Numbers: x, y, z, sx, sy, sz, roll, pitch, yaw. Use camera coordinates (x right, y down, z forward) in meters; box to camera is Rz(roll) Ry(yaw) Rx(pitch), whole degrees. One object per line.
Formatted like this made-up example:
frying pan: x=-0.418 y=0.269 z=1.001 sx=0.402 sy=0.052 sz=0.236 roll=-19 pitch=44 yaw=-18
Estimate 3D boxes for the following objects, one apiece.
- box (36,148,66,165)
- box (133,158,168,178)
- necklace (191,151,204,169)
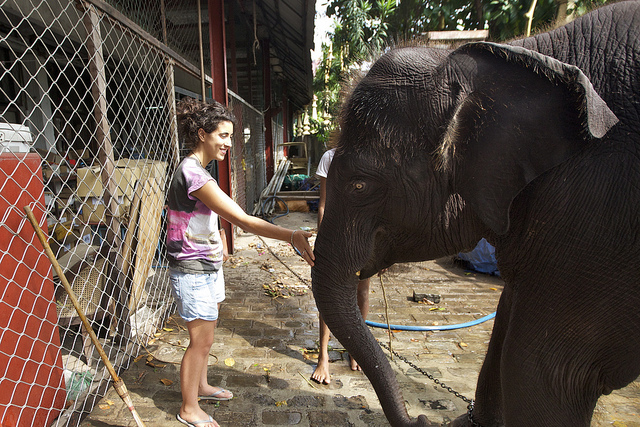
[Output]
box: x=-3.414 y=-0.736 z=5.920 sx=0.260 sy=0.196 sz=0.734 roll=-8 pitch=16 yaw=-32
box: x=-1.865 y=-0.521 z=5.301 sx=0.345 sy=0.221 sz=0.351 roll=1 pitch=6 yaw=0
necklace: x=-0.950 y=-0.424 z=3.599 sx=0.030 sy=0.032 sz=0.220 roll=-23 pitch=48 yaw=-16
